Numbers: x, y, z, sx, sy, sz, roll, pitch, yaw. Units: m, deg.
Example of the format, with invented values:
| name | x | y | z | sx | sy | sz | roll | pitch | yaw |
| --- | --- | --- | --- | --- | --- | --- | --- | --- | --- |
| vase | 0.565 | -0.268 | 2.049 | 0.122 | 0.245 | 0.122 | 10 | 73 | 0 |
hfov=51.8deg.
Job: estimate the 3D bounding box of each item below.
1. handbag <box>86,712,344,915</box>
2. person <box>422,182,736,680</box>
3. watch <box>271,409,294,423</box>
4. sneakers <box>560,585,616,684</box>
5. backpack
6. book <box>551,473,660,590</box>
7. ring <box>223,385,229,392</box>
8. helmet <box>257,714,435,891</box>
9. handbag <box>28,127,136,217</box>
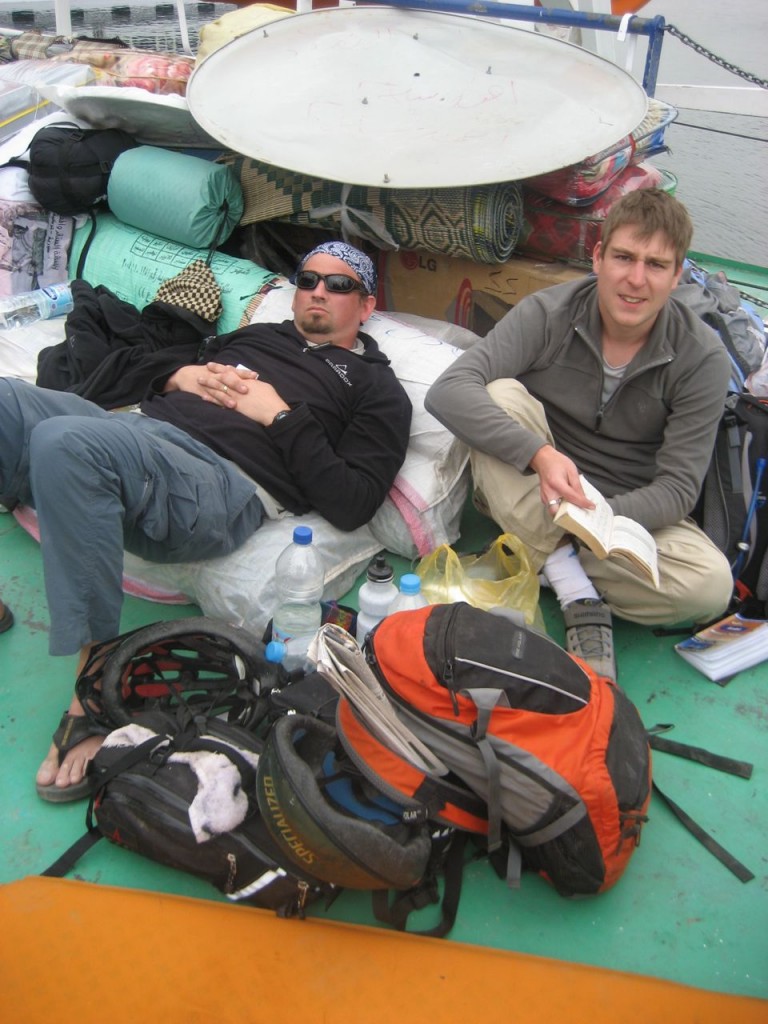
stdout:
| name | x | y | z | sx | sy | sz | roll | pitch | yaw |
| --- | --- | --- | --- | --- | --- | --- | --- | --- | --- |
| handbag | -0.292 | 0.512 | 1.459 | 0.501 | 0.159 | 0.287 | 9 | 39 | 19 |
| person | 0.626 | -0.256 | 2.154 | 0.779 | 1.052 | 0.893 | -21 | 40 | -35 |
| watch | -0.278 | -0.260 | 2.155 | 0.047 | 0.017 | 0.034 | -45 | 27 | 1 |
| sneakers | 0.512 | 0.307 | 2.045 | 0.101 | 0.108 | 0.275 | -11 | 41 | 12 |
| backpack | 0.286 | 0.412 | 1.549 | 0.458 | 0.332 | 0.661 | -22 | 30 | -39 |
| book | 0.519 | 0.051 | 1.878 | 0.363 | 0.104 | 0.238 | 34 | 23 | -3 |
| ring | -0.449 | -0.344 | 2.235 | 0.015 | 0.003 | 0.014 | 7 | 45 | -7 |
| helmet | -0.064 | 0.443 | 1.352 | 0.135 | 0.224 | 0.275 | -22 | 11 | -23 |
| handbag | -1.210 | -1.324 | 3.115 | 0.426 | 0.289 | 0.215 | -5 | 9 | -28 |
